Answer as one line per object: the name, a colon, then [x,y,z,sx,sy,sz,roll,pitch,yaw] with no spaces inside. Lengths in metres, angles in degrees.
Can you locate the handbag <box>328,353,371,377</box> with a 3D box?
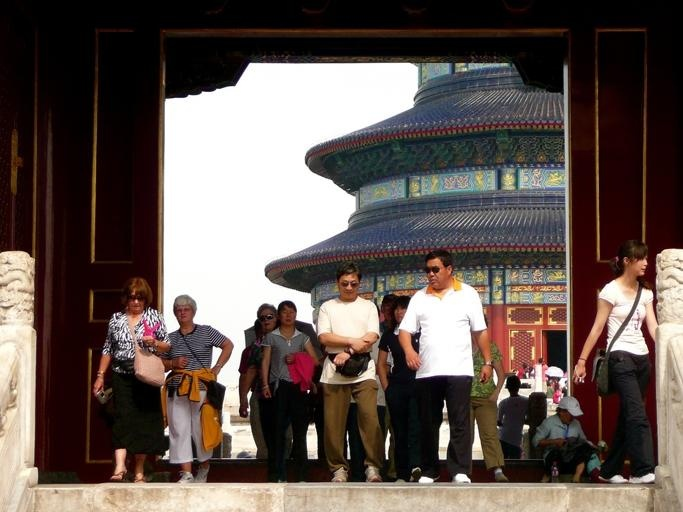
handbag: [0.086,0.804,7.779,0.178,0.120,0.233,3,10,-4]

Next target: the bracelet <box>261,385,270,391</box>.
bracelet: [-0.609,1.046,8.332,0.051,0.046,0.049,0,-8,1]

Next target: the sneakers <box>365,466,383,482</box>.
sneakers: [0.233,1.625,7.841,0.139,0.127,0.314,0,-14,-2]

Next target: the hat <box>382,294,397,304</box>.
hat: [0.405,0.362,8.838,0.085,0.064,0.087,3,2,35]

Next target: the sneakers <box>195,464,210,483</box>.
sneakers: [-1.128,1.751,8.472,0.077,0.219,0.086,6,-38,3]

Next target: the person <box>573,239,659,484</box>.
person: [1.954,0.736,7.419,0.568,1.691,0.731,-5,-13,15]

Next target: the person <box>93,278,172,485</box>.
person: [-1.539,0.898,7.731,0.536,1.470,0.437,1,-13,-12]

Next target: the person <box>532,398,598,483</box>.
person: [1.877,1.524,8.712,0.534,0.710,0.472,-5,-9,42]

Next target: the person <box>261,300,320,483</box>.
person: [-0.415,1.074,8.366,0.411,1.402,0.317,-3,-13,8]

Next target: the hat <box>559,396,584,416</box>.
hat: [1.874,1.228,8.591,0.125,0.097,0.181,0,15,-40]

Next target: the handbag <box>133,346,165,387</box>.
handbag: [-1.407,0.806,7.627,0.082,0.215,0.231,-32,-44,20]

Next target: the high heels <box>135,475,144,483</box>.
high heels: [-1.459,1.618,7.585,0.079,0.040,0.125,2,-2,-2]

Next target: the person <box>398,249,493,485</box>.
person: [0.739,0.771,7.474,0.677,1.611,0.524,0,-7,2]

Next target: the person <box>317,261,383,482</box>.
person: [0.058,0.886,7.900,0.465,1.582,0.499,-2,-12,0]

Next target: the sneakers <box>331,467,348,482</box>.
sneakers: [-0.013,1.613,7.775,0.101,0.097,0.200,-3,-12,4]

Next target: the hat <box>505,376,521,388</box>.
hat: [1.868,1.385,11.382,0.133,0.158,0.159,-4,-18,-1]

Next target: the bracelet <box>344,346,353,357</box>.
bracelet: [0.052,0.713,7.822,0.072,0.047,0.091,3,-10,-7]

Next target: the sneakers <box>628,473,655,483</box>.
sneakers: [2.005,1.483,7.005,0.158,0.066,0.560,-5,-12,15]

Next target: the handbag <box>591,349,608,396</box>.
handbag: [1.864,0.826,7.556,0.114,0.259,0.285,-1,-16,25]

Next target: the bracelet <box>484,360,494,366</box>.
bracelet: [1.052,0.759,7.432,0.082,0.043,0.059,2,-4,-7]
